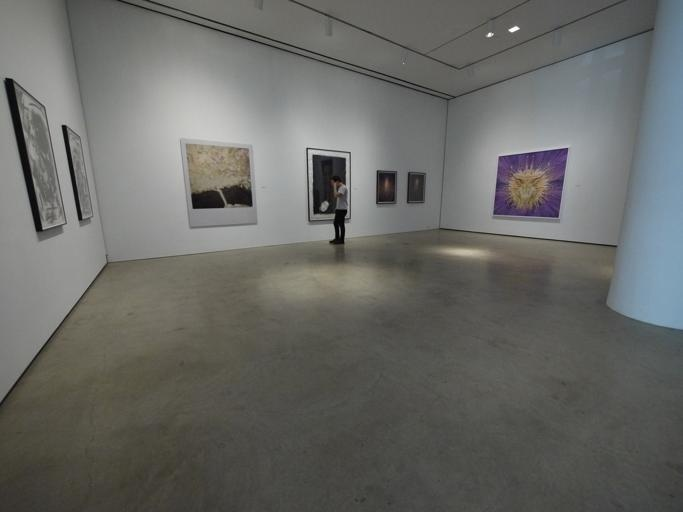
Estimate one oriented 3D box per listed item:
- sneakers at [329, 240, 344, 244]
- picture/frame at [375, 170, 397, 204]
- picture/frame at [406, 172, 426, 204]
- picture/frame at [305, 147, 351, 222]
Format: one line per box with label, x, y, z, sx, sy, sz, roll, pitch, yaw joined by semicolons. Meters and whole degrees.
sneakers;-0.096;-0.283;8.789;0.272;0.133;0.109;0;6;-7
picture/frame;1.141;-1.692;10.465;0.033;0.829;0.726;-4;9;-35
picture/frame;1.972;-1.839;11.187;0.705;0.828;0.092;-8;14;-44
picture/frame;-0.342;-1.529;8.977;1.341;2.039;0.072;-8;15;-38
